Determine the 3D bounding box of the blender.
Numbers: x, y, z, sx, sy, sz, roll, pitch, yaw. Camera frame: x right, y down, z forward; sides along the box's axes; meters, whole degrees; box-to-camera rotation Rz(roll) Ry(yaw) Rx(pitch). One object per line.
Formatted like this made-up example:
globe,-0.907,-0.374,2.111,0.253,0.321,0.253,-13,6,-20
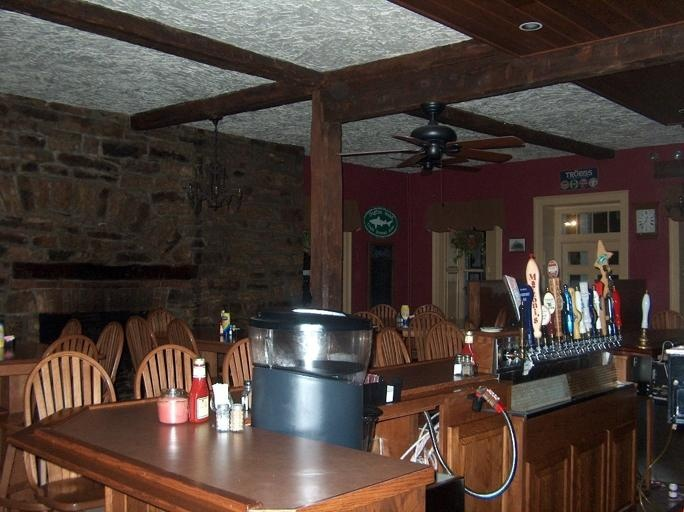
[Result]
blender,-0.105,0.462,2.064,0.544,0.492,0.494,2,-9,-4

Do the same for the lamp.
lamp,-1.556,-1.065,6.406,0.694,1.197,0.995,-2,0,-9

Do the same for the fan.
fan,0.724,-1.003,4.310,1.404,0.491,1.400,2,3,3

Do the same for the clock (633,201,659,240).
clock,4.182,-0.503,7.227,0.254,0.381,0.065,-2,0,42
